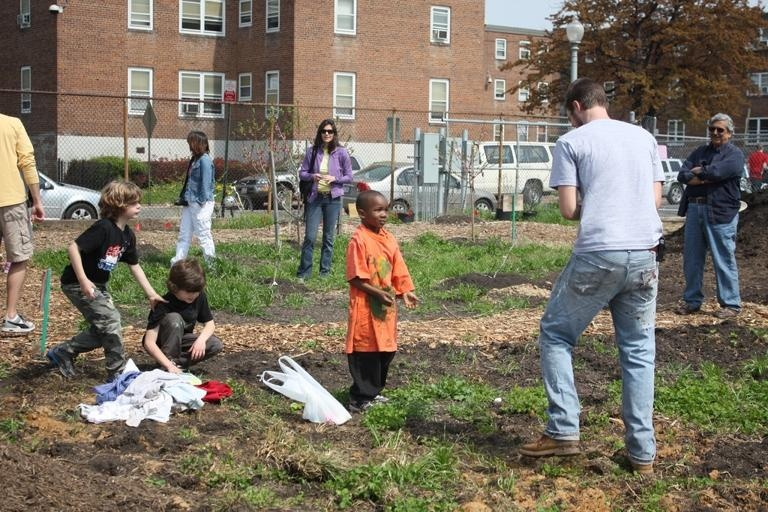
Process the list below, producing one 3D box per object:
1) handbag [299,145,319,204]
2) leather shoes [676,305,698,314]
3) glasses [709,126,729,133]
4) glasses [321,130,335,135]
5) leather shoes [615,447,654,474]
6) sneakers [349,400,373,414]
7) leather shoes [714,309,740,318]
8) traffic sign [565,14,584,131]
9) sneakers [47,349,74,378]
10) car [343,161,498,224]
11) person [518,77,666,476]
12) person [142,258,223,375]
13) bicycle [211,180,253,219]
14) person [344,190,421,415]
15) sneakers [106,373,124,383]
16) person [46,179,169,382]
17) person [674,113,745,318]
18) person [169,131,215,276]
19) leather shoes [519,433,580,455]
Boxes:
[{"bbox_3d":[-1.133,-1.232,13.089,0.224,0.709,0.504,7,20,-6],"label":"handbag"},{"bbox_3d":[3.848,0.709,11.252,0.287,0.139,0.109,-4,4,9],"label":"leather shoes"},{"bbox_3d":[4.164,-1.653,11.115,0.169,0.094,0.336,-1,5,-10],"label":"glasses"},{"bbox_3d":[-0.828,-1.905,13.009,0.169,0.080,0.128,-1,5,-19],"label":"glasses"},{"bbox_3d":[2.146,1.848,7.652,0.132,0.164,0.364,-17,15,-20],"label":"leather shoes"},{"bbox_3d":[-0.234,1.513,8.558,0.167,0.074,0.128,2,1,-22],"label":"sneakers"},{"bbox_3d":[4.259,0.740,10.945,0.294,0.123,0.120,-2,8,-2],"label":"leather shoes"},{"bbox_3d":[3.825,-4.023,17.740,0.340,1.770,0.345,10,23,29],"label":"traffic sign"},{"bbox_3d":[-3.244,1.114,8.834,0.127,0.264,0.097,-41,2,32],"label":"sneakers"},{"bbox_3d":[1.073,-1.733,21.550,3.363,1.240,1.581,-3,6,-19],"label":"car"},{"bbox_3d":[1.896,0.144,7.734,1.010,3.513,0.621,1,4,17],"label":"person"},{"bbox_3d":[-2.101,0.613,8.906,0.730,1.242,0.924,10,18,10],"label":"person"},{"bbox_3d":[-3.783,-1.398,21.329,0.653,0.864,1.371,1,12,18],"label":"bicycle"},{"bbox_3d":[-0.053,0.599,8.588,0.664,1.894,0.428,-1,4,-16],"label":"person"},{"bbox_3d":[-2.656,1.247,8.683,0.117,0.067,0.090,-16,26,-20],"label":"sneakers"},{"bbox_3d":[-2.829,0.240,8.813,0.990,2.041,0.601,-2,4,-22],"label":"person"},{"bbox_3d":[4.138,-0.564,11.201,0.783,2.598,0.624,2,4,22],"label":"person"},{"bbox_3d":[-2.795,-0.904,12.904,0.601,2.025,0.919,-1,4,-13],"label":"person"},{"bbox_3d":[1.439,1.723,7.716,0.518,0.264,0.204,3,-2,10],"label":"leather shoes"}]
